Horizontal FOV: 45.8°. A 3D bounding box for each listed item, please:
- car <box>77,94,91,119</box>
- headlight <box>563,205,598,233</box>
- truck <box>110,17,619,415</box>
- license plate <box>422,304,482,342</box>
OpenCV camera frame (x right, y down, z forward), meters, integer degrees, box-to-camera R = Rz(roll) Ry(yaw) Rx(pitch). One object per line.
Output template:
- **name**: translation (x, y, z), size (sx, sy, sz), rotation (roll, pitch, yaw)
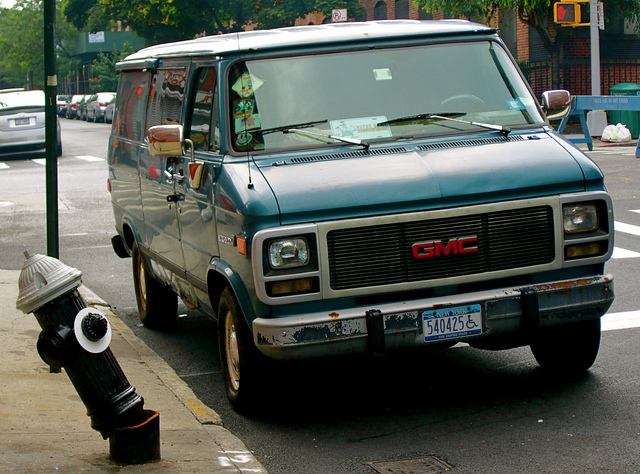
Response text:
- **car**: translation (-17.064, -9.152, 54.299), size (1.111, 1.131, 2.016), rotation (-1, 18, -11)
- **headlight**: translation (1.941, -0.163, 5.729), size (0.315, 0.245, 0.179), rotation (-2, 7, -10)
- **truck**: translation (-0.155, -0.327, 7.132), size (2.642, 2.274, 4.421), rotation (-3, 1, -23)
- **license plate**: translation (0.935, 0.608, 5.400), size (0.429, 0.242, 0.020), rotation (-7, 12, -2)
